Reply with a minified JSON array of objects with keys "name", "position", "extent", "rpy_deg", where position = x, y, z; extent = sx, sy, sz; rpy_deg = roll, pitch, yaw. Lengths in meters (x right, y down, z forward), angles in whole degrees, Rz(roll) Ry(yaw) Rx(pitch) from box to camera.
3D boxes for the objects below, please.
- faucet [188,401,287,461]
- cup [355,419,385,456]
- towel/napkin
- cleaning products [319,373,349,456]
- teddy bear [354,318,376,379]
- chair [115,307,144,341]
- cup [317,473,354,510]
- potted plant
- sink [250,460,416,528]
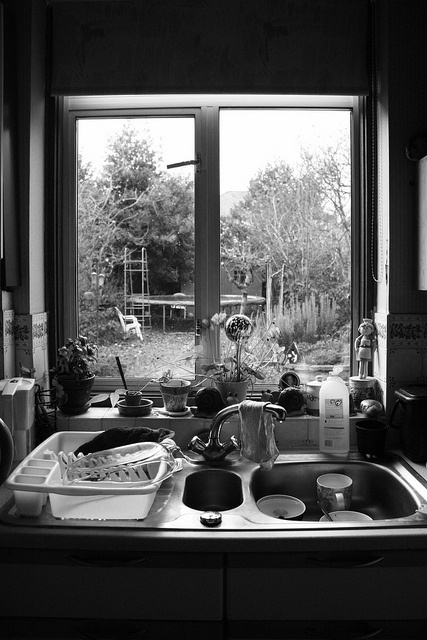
[{"name":"faucet","position":[0.072,0.342,1.641],"extent":[0.311,0.178,0.154],"rpy_deg":[-18,-16,32]},{"name":"cup","position":[0.506,0.381,1.805],"extent":[0.100,0.106,0.100],"rpy_deg":[0,4,0]},{"name":"towel/napkin","position":[0.127,0.317,1.580],"extent":[0.070,0.188,0.138],"rpy_deg":[-2,4,-31]},{"name":"cleaning products","position":[0.405,0.317,1.868],"extent":[0.099,0.236,0.103],"rpy_deg":[2,4,33]},{"name":"teddy bear","position":[0.536,0.101,1.981],"extent":[0.071,0.206,0.076],"rpy_deg":[0,3,13]},{"name":"chair","position":[-0.322,0.020,2.256],"extent":[0.113,0.171,0.101],"rpy_deg":[0,3,0]},{"name":"cup","position":[0.351,0.498,1.663],"extent":[0.068,0.087,0.114],"rpy_deg":[0,2,4]},{"name":"potted plant","position":[-0.489,0.195,1.974],"extent":[0.143,0.268,0.128],"rpy_deg":[-1,4,-17]},{"name":"sink","position":[0.364,0.518,1.711],"extent":[0.260,0.104,0.223],"rpy_deg":[-3,17,0]}]
